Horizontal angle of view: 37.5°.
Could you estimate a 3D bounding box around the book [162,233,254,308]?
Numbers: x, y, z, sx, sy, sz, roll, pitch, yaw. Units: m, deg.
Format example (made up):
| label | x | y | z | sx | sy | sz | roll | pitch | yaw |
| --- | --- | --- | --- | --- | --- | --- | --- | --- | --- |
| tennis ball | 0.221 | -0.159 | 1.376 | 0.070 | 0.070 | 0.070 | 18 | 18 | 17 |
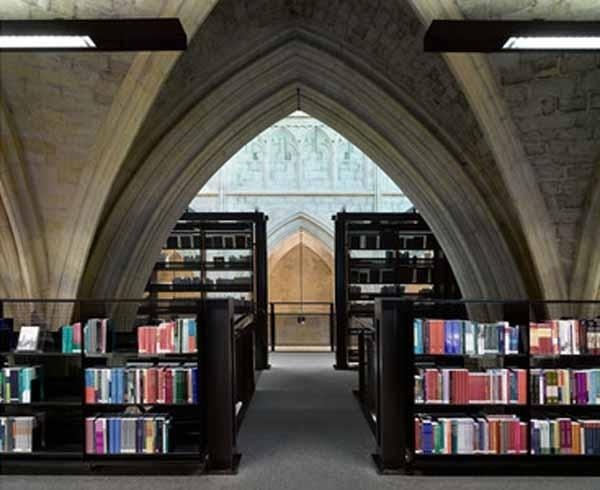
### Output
| label | x | y | z | sx | sy | sz | roll | pitch | yaw |
| --- | --- | --- | --- | --- | --- | --- | --- | --- | --- |
| book | -1.323 | 0.348 | 12.806 | 1.025 | 0.944 | 0.345 | 0 | 1 | 4 |
